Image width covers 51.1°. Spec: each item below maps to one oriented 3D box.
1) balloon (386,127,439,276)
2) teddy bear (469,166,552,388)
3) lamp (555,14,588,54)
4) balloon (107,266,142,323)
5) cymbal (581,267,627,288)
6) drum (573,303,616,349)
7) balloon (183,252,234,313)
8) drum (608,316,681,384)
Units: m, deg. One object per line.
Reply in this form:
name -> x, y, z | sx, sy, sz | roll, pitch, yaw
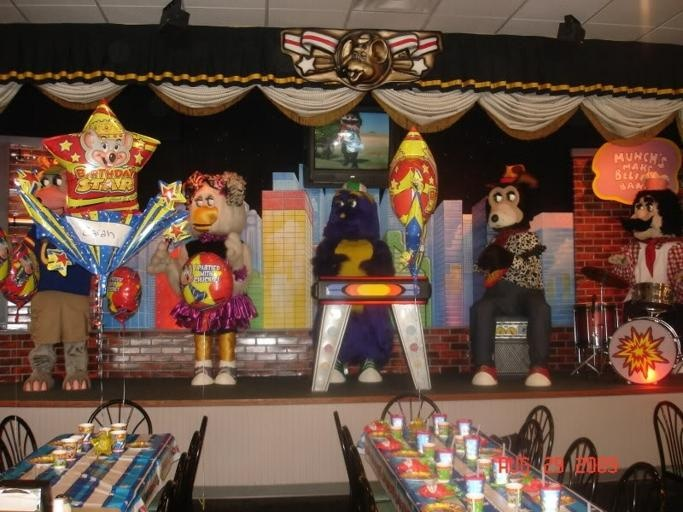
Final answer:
balloon -> 0.604, -0.511, 6.053 | 0.395, 1.219, 0.246 | 1, -4, 3
teddy bear -> 1.593, 0.133, 6.787 | 0.722, 2.105, 0.748 | 0, -4, 10
lamp -> 2.149, -2.062, 6.656 | 0.196, 0.273, 0.213 | 2, -21, 7
balloon -> -1.875, 0.325, 6.152 | 0.279, 0.478, 0.262 | 2, -4, -18
cymbal -> 2.658, 0.204, 7.190 | 0.507, 0.214, 0.371 | 4, -4, -39
drum -> 2.421, 0.671, 6.917 | 0.415, 0.421, 0.416 | 0, -4, 17
balloon -> -1.188, 0.235, 6.369 | 0.522, 0.587, 0.493 | -1, 7, -16
drum -> 2.739, 0.863, 6.497 | 0.591, 0.587, 0.227 | 1, -1, 11
